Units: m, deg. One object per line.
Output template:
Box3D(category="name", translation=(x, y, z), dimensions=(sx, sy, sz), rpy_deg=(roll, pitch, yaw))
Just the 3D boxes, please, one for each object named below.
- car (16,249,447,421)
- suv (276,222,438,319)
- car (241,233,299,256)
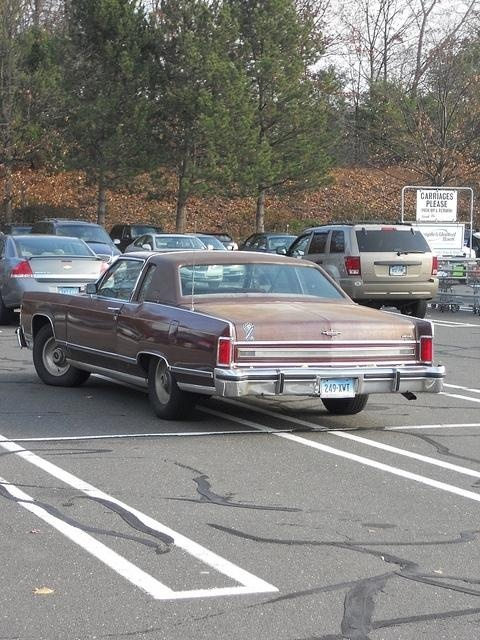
Box3D(category="car", translation=(-0.439, 0.012, 7.365), dimensions=(1.917, 1.034, 3.492), rpy_deg=(0, 7, -36))
Box3D(category="suv", translation=(2.636, -1.357, 17.587), dimensions=(1.959, 1.421, 3.629), rpy_deg=(-1, 12, -21))
Box3D(category="car", translation=(1.197, -3.276, 30.739), dimensions=(1.502, 1.198, 3.737), rpy_deg=(0, 8, -26))
